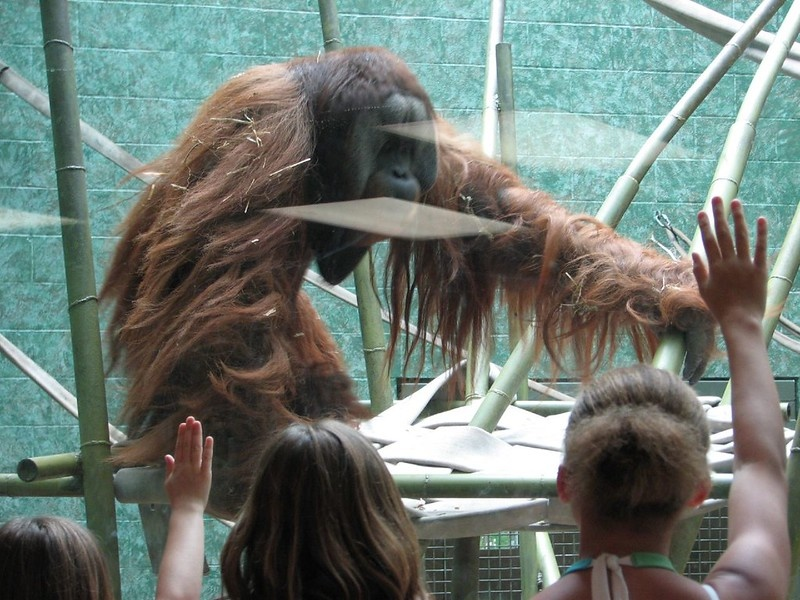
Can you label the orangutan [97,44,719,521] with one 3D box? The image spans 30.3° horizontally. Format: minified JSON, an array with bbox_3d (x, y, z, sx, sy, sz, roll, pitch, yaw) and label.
[{"bbox_3d":[-0.114,-0.034,4.384,1.935,1.343,1.285,8,16,24],"label":"orangutan"}]
